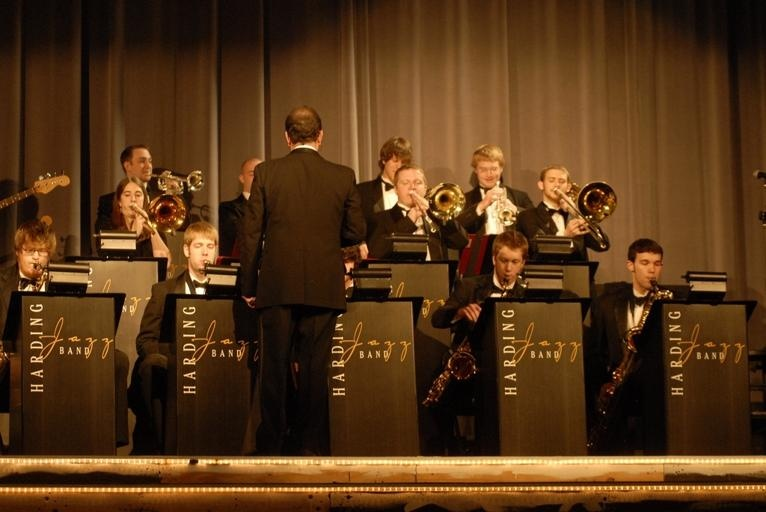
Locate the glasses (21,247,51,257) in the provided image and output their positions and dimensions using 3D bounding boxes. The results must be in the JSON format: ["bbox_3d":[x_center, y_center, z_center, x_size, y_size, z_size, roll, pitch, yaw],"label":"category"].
[{"bbox_3d":[-3.049,-0.042,9.522,0.212,0.059,0.045,2,-7,-21],"label":"glasses"}]

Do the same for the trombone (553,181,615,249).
[{"bbox_3d":[2.153,-0.474,11.188,0.402,0.473,0.918,8,22,-18],"label":"trombone"}]

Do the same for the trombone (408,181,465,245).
[{"bbox_3d":[0.572,-0.418,10.762,0.499,0.682,0.340,2,-6,-20],"label":"trombone"}]

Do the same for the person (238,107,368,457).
[{"bbox_3d":[-0.633,0.200,8.759,0.938,2.973,0.828,0,-3,-9],"label":"person"}]

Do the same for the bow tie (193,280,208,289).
[{"bbox_3d":[-1.617,0.239,9.557,0.089,0.062,0.043,0,-6,-1],"label":"bow tie"}]

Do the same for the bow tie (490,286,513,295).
[{"bbox_3d":[1.046,0.304,9.620,0.097,0.099,0.099,2,-4,-17],"label":"bow tie"}]

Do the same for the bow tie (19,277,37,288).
[{"bbox_3d":[-3.142,0.230,9.552,0.110,0.038,0.107,2,16,-7],"label":"bow tie"}]
